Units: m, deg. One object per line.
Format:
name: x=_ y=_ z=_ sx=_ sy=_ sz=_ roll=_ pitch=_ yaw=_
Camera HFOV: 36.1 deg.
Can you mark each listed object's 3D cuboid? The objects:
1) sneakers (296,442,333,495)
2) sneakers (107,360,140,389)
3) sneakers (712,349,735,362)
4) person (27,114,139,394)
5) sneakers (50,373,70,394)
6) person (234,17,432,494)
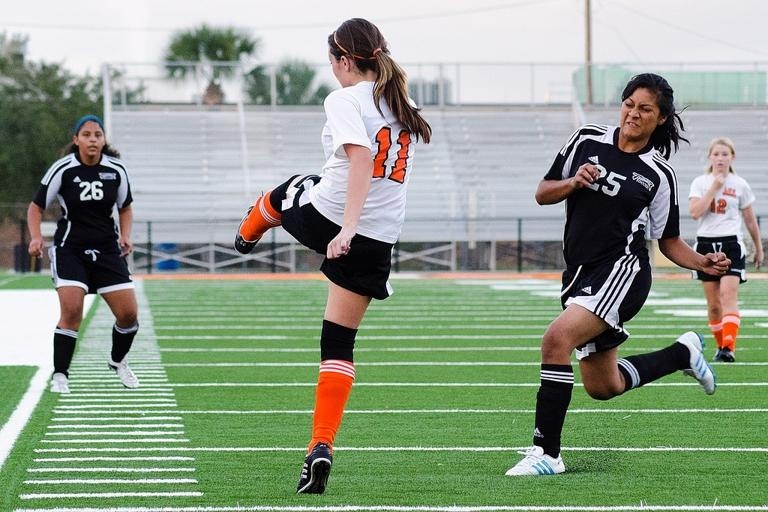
sneakers: x=-0.568 y=1.722 z=9.458 sx=0.206 sy=0.477 sz=0.241 roll=15 pitch=27 yaw=-13
sneakers: x=-2.696 y=1.237 z=12.129 sx=0.108 sy=0.301 sz=0.136 roll=-46 pitch=1 yaw=-37
sneakers: x=3.838 y=1.135 z=13.284 sx=0.116 sy=0.118 sz=0.295 roll=7 pitch=6 yaw=18
person: x=-2.951 y=0.001 z=11.649 sx=1.014 sy=2.732 sz=0.740 roll=-4 pitch=7 yaw=-18
sneakers: x=-3.158 y=1.246 z=11.460 sx=0.169 sy=0.080 sz=0.246 roll=3 pitch=8 yaw=-23
person: x=-0.282 y=-0.028 z=9.599 sx=1.417 sy=3.780 sz=0.781 roll=-3 pitch=7 yaw=-6
